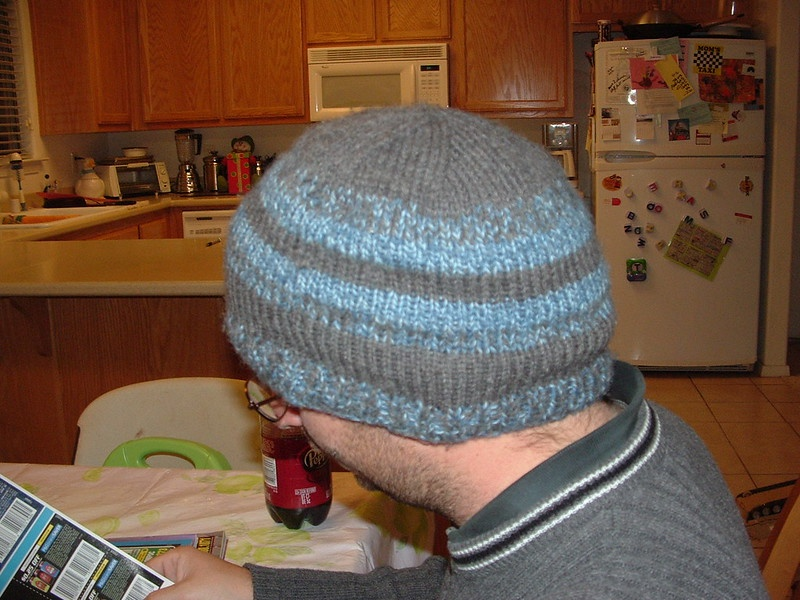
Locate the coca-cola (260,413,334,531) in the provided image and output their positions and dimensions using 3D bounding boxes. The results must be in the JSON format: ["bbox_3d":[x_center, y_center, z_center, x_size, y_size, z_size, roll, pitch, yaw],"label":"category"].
[{"bbox_3d":[-0.155,0.259,1.042,0.100,0.184,0.107,15,20,36],"label":"coca-cola"}]

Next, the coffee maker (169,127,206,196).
[{"bbox_3d":[-1.416,-0.909,4.486,0.183,0.417,0.189,5,16,15],"label":"coffee maker"}]

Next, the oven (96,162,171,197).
[{"bbox_3d":[-1.684,-0.757,4.327,0.259,0.218,0.403,7,15,29],"label":"oven"}]
